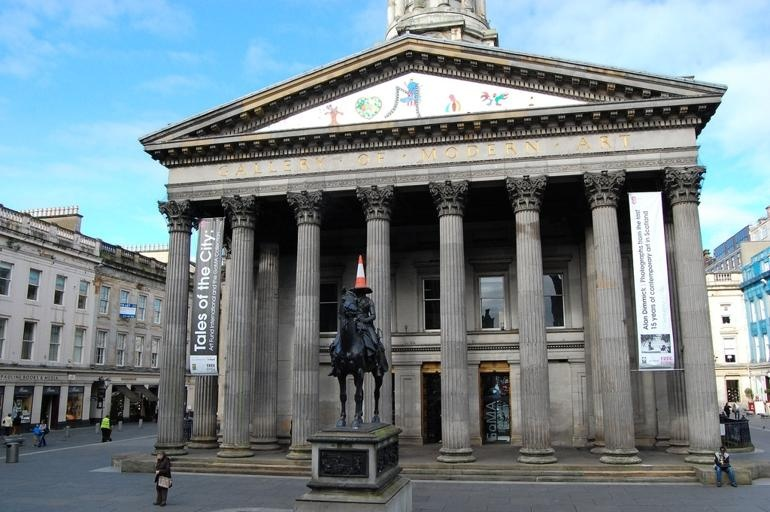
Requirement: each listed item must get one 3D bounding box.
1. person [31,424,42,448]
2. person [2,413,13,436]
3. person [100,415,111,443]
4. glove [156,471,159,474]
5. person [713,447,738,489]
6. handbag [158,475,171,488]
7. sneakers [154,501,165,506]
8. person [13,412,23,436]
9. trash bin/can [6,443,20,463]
[{"bbox_3d":[-23.364,12.061,46.435,0.511,1.346,2.136,-1,0,-27],"label":"person"},{"bbox_3d":[-27.651,12.396,50.642,0.704,1.462,2.803,-1,0,-29],"label":"person"},{"bbox_3d":[-19.269,12.003,47.720,0.546,1.705,1.576,-1,0,-26],"label":"person"},{"bbox_3d":[-9.786,9.339,29.781,0.134,0.120,0.058,-1,0,25],"label":"glove"},{"bbox_3d":[15.989,9.889,32.537,0.941,1.913,1.322,-1,0,26],"label":"person"},{"bbox_3d":[-9.507,9.720,29.711,0.499,0.465,0.259,5,-17,-4],"label":"handbag"},{"bbox_3d":[-9.726,10.695,29.787,0.456,0.195,0.148,10,-15,0],"label":"sneakers"},{"bbox_3d":[-27.887,12.574,52.368,0.329,1.520,0.773,-1,0,1],"label":"person"},{"bbox_3d":[-20.906,11.021,38.763,0.642,1.039,0.918,-1,0,-33],"label":"trash bin/can"}]
